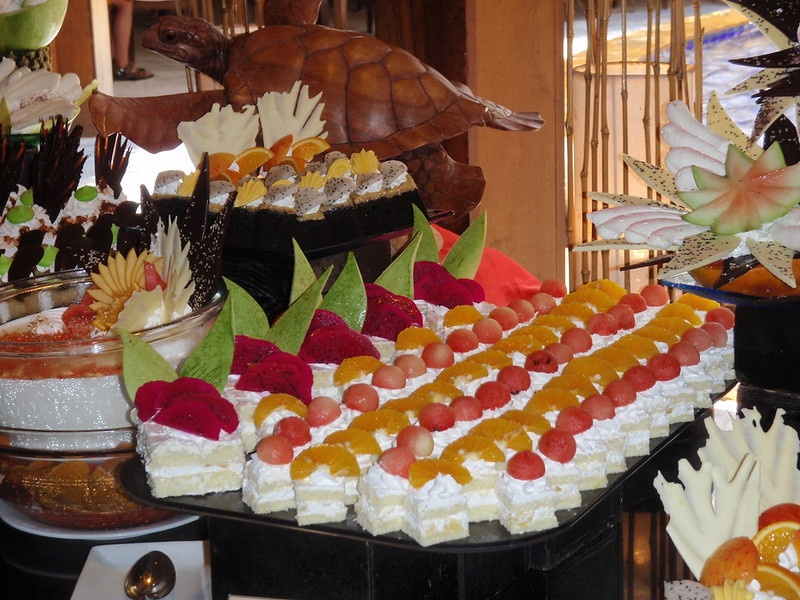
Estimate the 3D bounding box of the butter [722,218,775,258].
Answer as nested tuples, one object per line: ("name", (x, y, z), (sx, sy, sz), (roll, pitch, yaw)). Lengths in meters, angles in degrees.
("butter", (0.485, -0.085, 1.201), (0.050, 0.052, 0.036), (-1, 9, 10))
